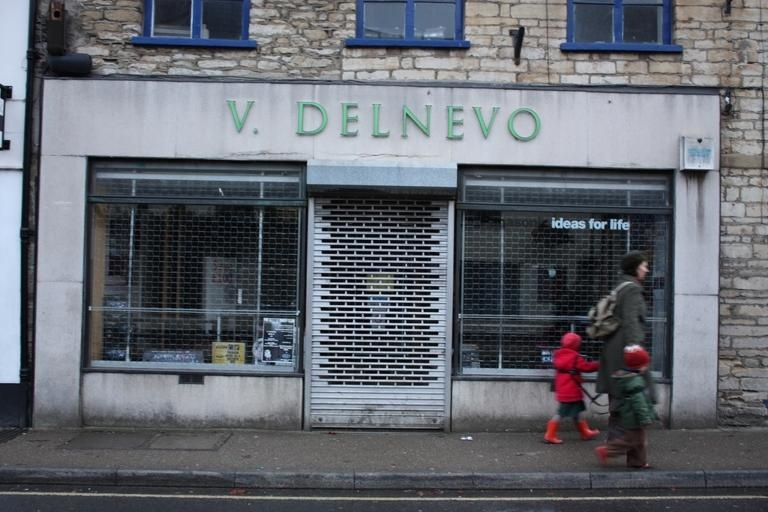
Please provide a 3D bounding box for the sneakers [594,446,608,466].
[{"bbox_3d":[3.458,3.202,26.021,0.172,0.309,0.153,-6,8,18],"label":"sneakers"}]

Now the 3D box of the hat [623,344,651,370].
[{"bbox_3d":[3.989,1.597,25.898,0.377,0.394,0.175,0,-1,13],"label":"hat"}]

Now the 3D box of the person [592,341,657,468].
[{"bbox_3d":[3.875,2.412,26.058,0.826,1.997,0.525,0,-1,6],"label":"person"}]
